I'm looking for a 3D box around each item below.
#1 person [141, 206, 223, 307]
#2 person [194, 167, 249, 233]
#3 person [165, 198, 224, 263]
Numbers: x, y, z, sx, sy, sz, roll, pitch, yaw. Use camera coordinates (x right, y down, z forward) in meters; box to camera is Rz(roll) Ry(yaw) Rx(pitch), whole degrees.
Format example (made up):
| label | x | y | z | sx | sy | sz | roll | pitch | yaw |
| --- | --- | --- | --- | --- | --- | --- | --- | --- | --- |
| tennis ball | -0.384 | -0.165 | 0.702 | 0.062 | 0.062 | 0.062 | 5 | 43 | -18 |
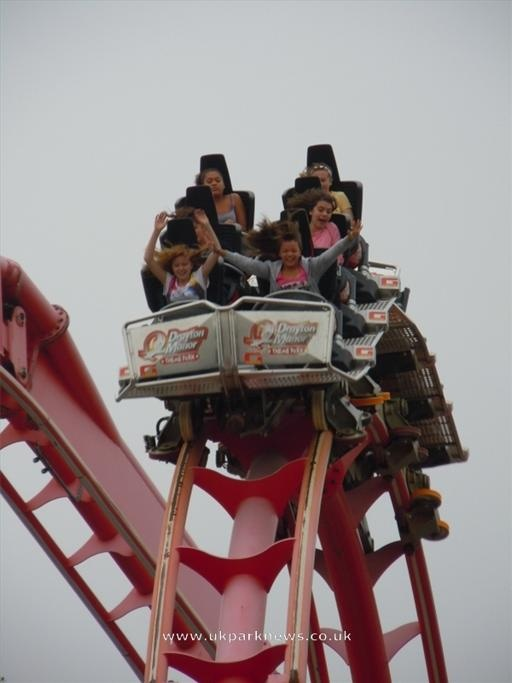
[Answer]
| label | x | y | z | sx | sy | sz | roll | pitch | yaw |
| --- | --- | --- | --- | --- | --- | --- | --- | --- | --- |
| person | -0.910 | -0.980 | 18.857 | 1.077 | 1.575 | 1.392 | -1 | -8 | -2 |
| person | -0.546 | -2.041 | 22.194 | 0.776 | 1.177 | 1.011 | -13 | 11 | 0 |
| person | -0.752 | -1.540 | 19.270 | 0.694 | 1.009 | 0.540 | -2 | -6 | 1 |
